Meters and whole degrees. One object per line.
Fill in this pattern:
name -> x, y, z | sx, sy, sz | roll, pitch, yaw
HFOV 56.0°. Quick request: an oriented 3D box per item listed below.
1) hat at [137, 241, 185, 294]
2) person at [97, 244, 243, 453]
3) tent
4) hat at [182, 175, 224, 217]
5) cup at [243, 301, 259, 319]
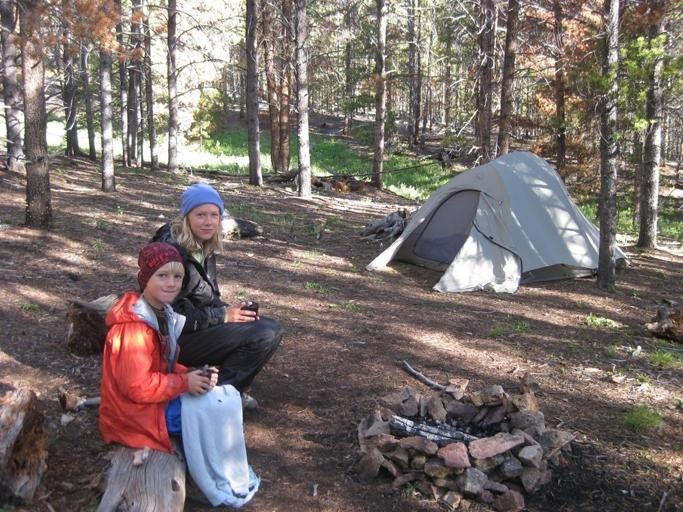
hat -> -2.142, 0.133, 7.593 | 0.504, 0.565, 0.540 | -6, 2, -41
person -> -2.172, 1.070, 7.452 | 1.144, 2.405, 0.459 | 1, 7, -24
tent -> 3.280, -0.747, 13.255 | 4.026, 2.895, 1.724 | 5, 7, 5
hat -> -1.710, -0.736, 7.949 | 0.397, 0.370, 0.422 | 8, 7, 19
cup -> -1.173, 0.689, 8.298 | 0.191, 0.210, 0.153 | 9, 25, -14
